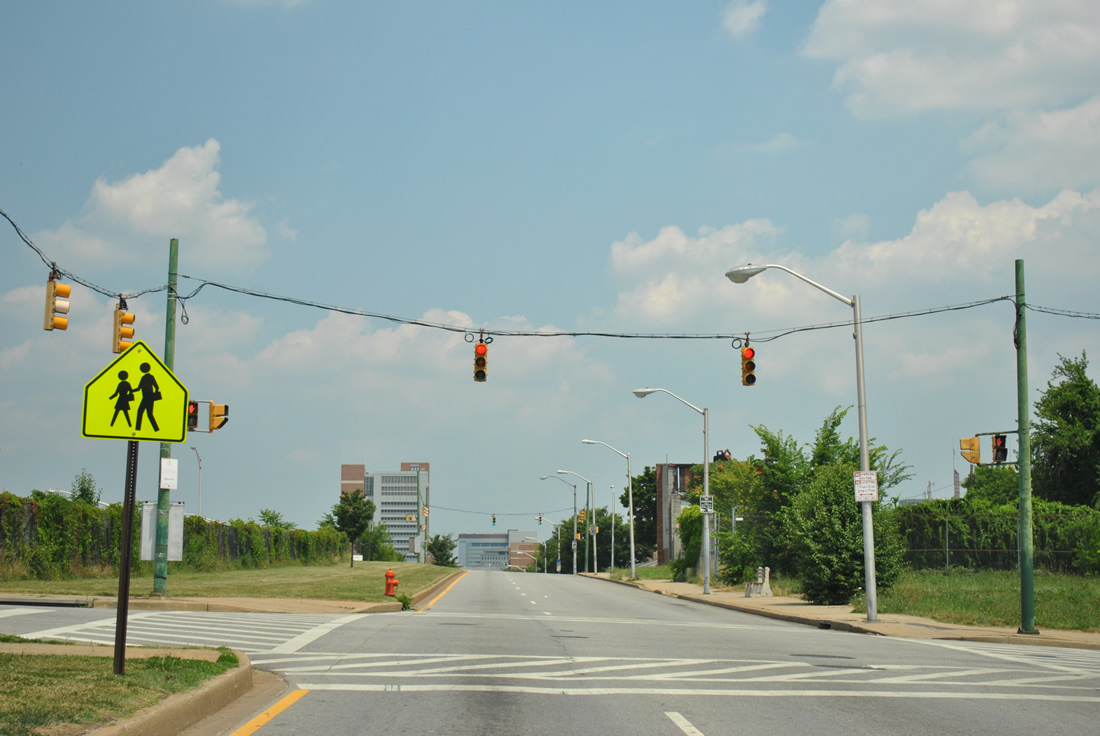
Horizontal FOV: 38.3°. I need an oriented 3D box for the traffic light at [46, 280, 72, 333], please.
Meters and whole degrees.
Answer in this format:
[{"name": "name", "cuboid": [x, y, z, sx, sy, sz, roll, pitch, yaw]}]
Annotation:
[{"name": "traffic light", "cuboid": [-14.679, -1.802, 47.245, 0.642, 1.545, 0.434, 6, -16, -23]}]
